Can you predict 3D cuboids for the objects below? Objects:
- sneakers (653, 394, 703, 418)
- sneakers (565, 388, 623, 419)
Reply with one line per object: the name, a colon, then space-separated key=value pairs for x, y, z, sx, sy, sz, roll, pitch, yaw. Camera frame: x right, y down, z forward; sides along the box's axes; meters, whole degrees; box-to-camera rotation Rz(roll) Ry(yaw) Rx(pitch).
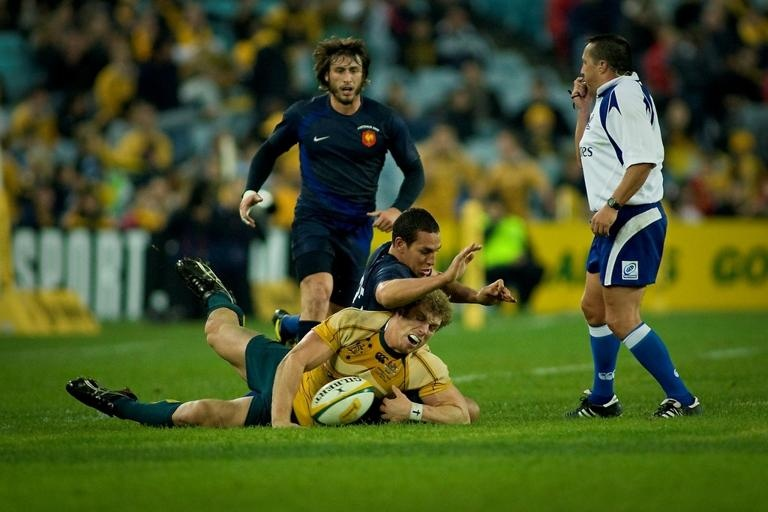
sneakers: x=2.922 y=1.503 z=10.698 sx=0.504 sy=0.241 sz=0.190 roll=-1 pitch=-9 yaw=-9
sneakers: x=2.172 y=1.517 z=10.944 sx=0.609 sy=0.313 sz=0.232 roll=1 pitch=-14 yaw=0
